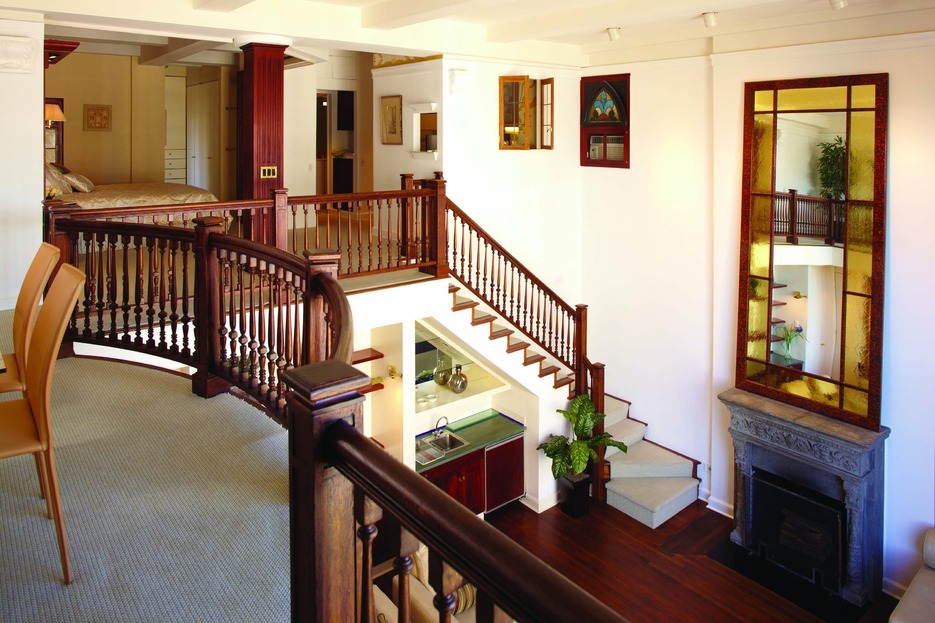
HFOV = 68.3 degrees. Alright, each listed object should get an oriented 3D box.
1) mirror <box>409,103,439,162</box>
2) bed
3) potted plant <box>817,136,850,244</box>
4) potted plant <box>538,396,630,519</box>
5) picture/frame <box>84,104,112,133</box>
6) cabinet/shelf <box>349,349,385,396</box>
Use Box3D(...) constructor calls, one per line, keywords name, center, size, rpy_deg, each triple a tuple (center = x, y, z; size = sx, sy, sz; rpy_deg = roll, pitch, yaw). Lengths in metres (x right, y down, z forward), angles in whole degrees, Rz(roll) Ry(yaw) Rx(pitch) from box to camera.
Box3D(name="mirror", center=(-0.660, -2.709, 10.314), size=(0.239, 0.822, 0.807), rpy_deg=(-6, 16, -23))
Box3D(name="bed", center=(-4.052, -1.232, 8.586), size=(1.734, 0.801, 4.257), rpy_deg=(-7, 18, -23))
Box3D(name="potted plant", center=(4.582, -1.522, 8.626), size=(0.152, 1.288, 0.433), rpy_deg=(-7, 15, -27))
Box3D(name="potted plant", center=(1.677, 2.050, 10.762), size=(1.575, 1.614, 1.449), rpy_deg=(-1, 7, -41))
Box3D(name="picture/frame", center=(-6.639, -3.464, 12.264), size=(0.536, 0.545, 0.056), rpy_deg=(-2, 5, -38))
Box3D(name="cabinet/shelf", center=(-1.420, 0.875, 9.854), size=(0.428, 0.588, 0.503), rpy_deg=(-2, 15, -8))
